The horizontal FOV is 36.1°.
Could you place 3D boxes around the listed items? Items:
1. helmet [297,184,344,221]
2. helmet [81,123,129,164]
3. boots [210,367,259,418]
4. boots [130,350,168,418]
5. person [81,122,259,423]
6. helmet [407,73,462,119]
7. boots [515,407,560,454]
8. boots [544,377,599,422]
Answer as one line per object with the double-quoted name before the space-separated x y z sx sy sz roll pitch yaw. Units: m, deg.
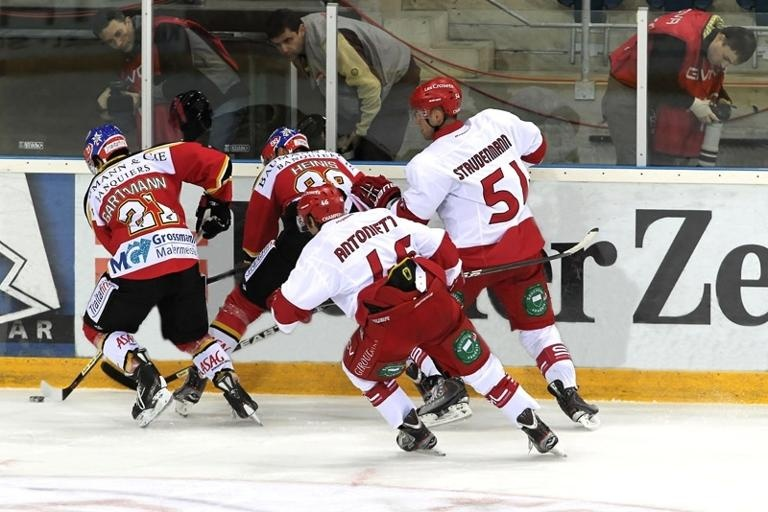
"helmet" -0.355 -0.344 7.113 0.274 0.240 0.208 11 23 40
"helmet" -1.819 -0.713 7.813 0.263 0.281 0.335 -17 10 -39
"boots" -0.979 0.894 7.778 0.114 0.349 0.161 -46 3 -5
"boots" -1.461 0.834 7.478 0.256 0.480 0.184 2 9 -5
"person" -1.430 0.114 7.637 0.970 1.865 0.731 0 9 -14
"helmet" 0.323 -0.997 7.602 0.378 0.313 0.274 -6 25 -6
"boots" 0.891 1.008 6.927 0.205 0.300 0.121 -42 3 3
"boots" 1.210 0.936 7.578 0.389 0.179 0.162 51 17 30
